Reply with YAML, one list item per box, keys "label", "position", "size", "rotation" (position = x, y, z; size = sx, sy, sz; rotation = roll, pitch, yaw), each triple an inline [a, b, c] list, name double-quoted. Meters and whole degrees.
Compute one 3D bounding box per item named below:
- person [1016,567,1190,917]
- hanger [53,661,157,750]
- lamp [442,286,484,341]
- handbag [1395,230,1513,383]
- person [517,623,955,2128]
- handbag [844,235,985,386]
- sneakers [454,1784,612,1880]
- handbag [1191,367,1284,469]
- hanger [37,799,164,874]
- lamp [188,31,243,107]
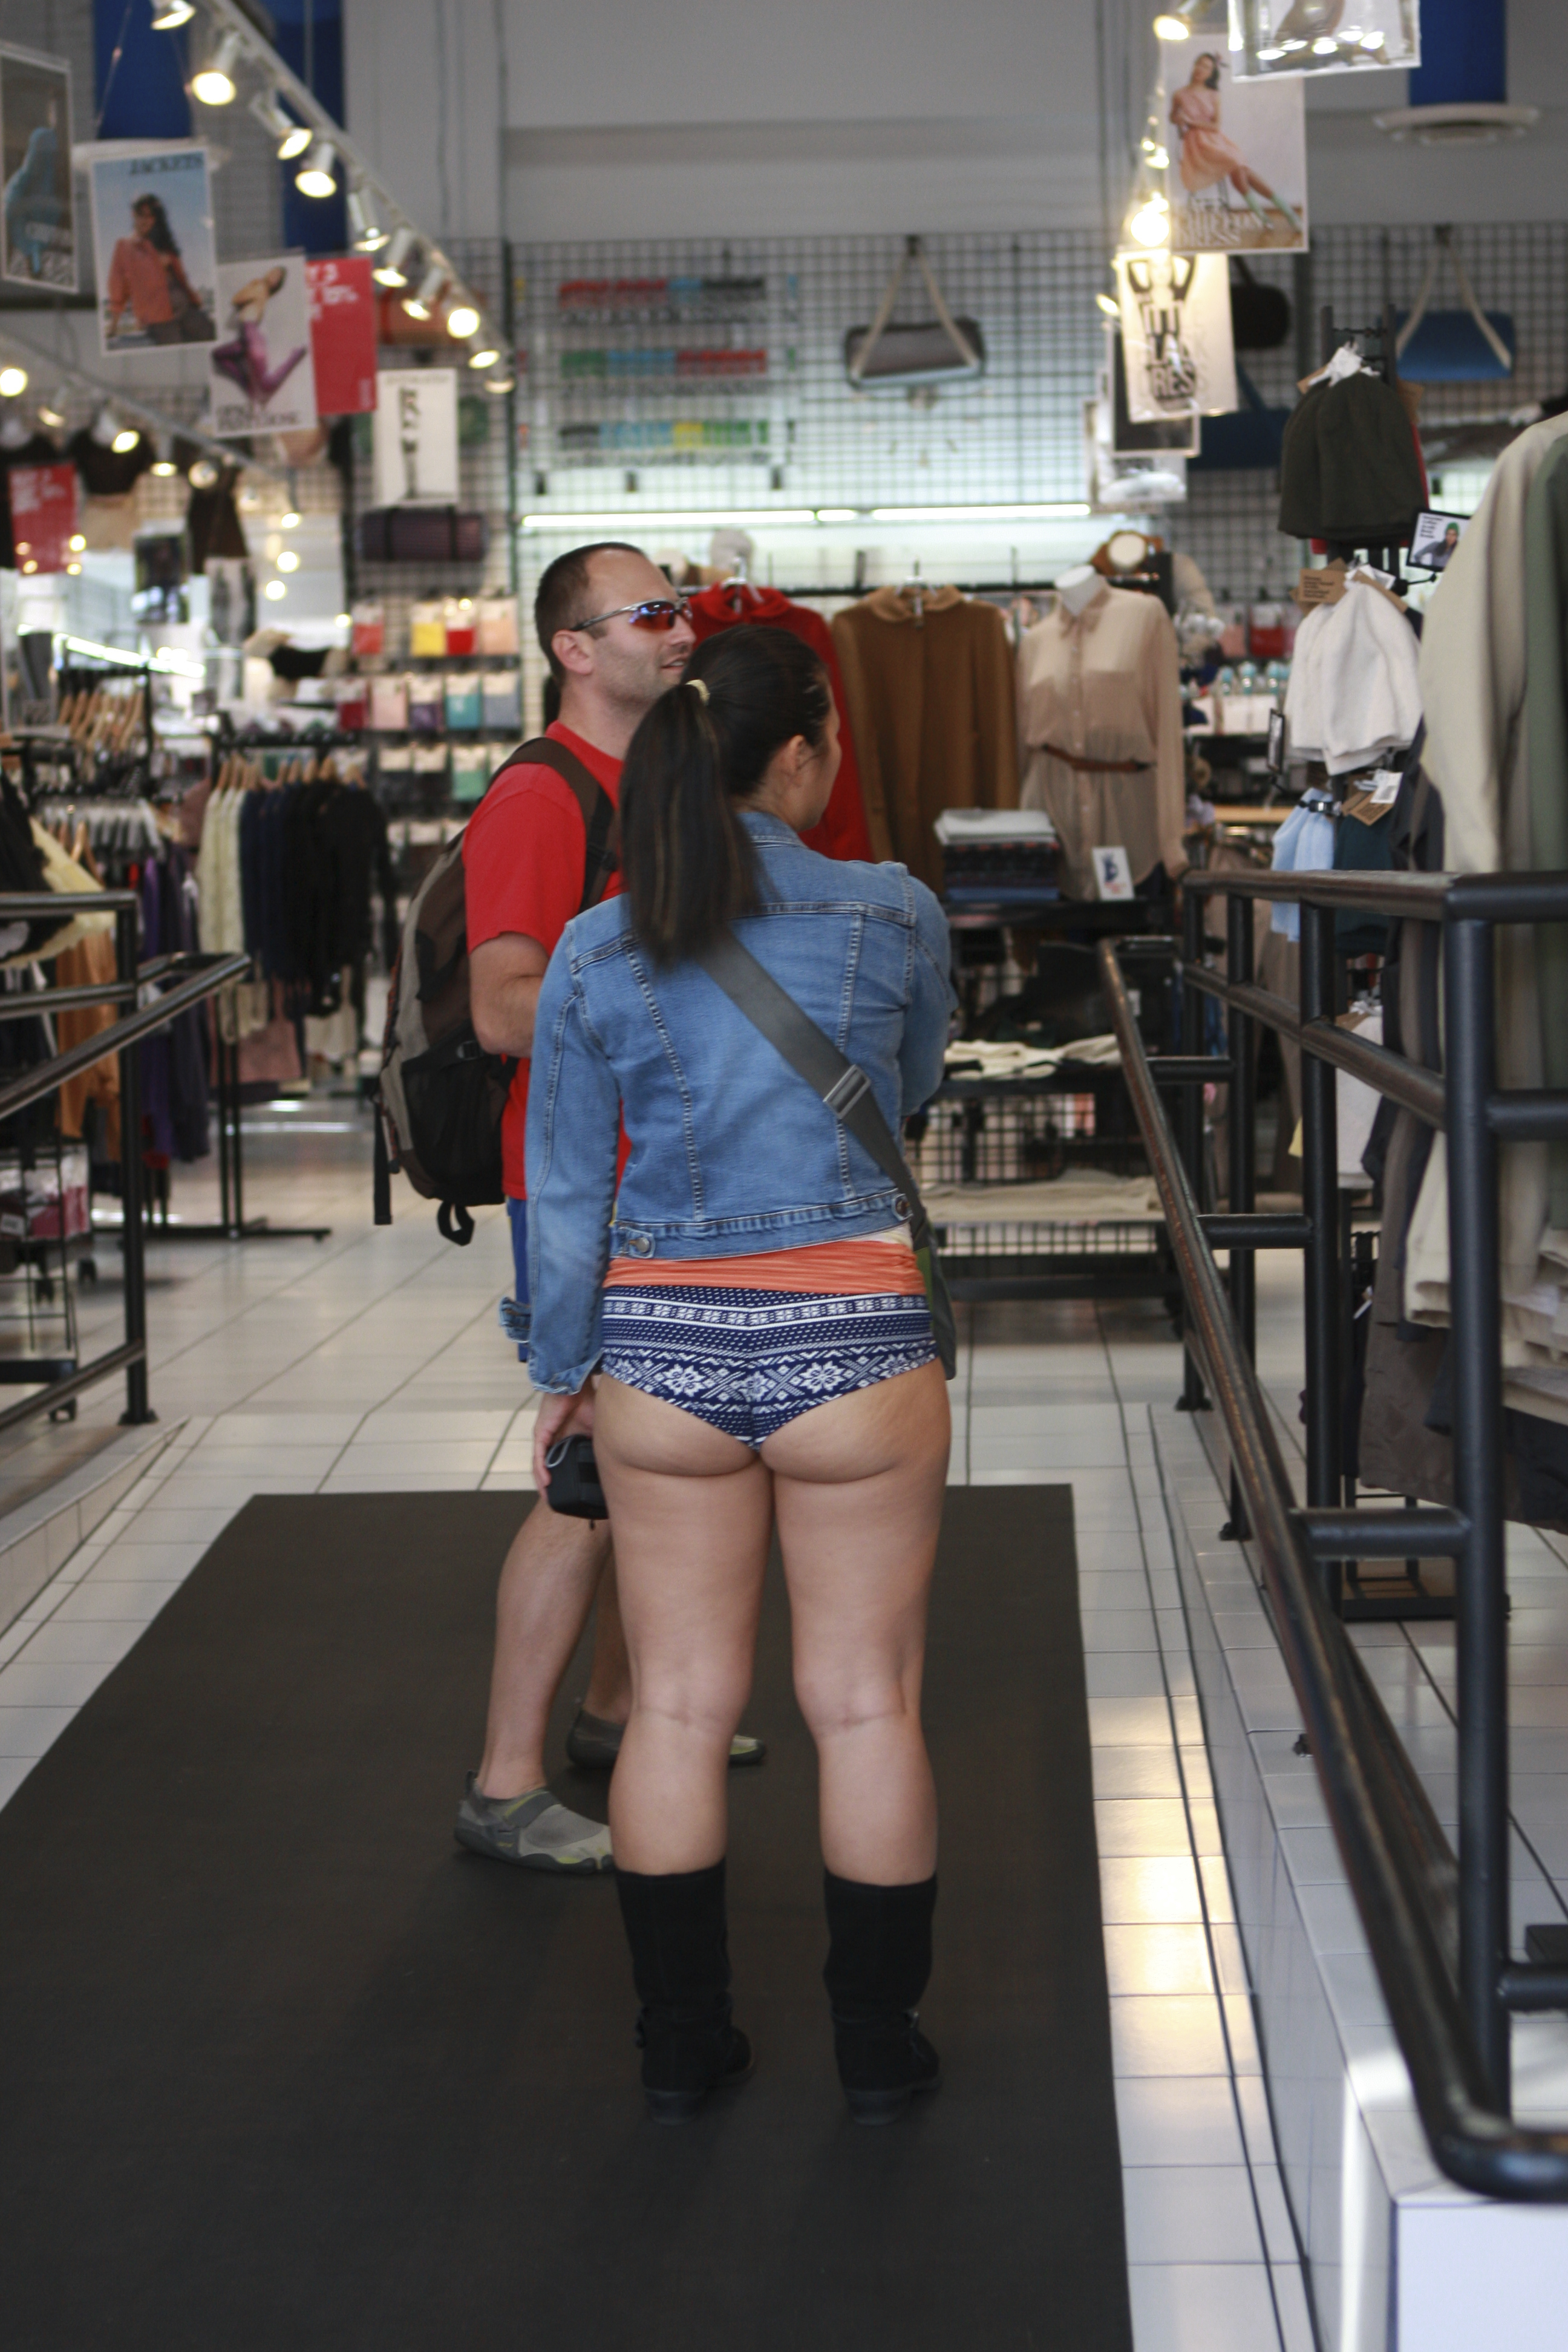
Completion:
- label: "person"
  position: [0.954, -1.334, 5.516]
  size: [0.507, 0.990, 0.342]
  rotation: [0, 3, 11]
- label: "hanger"
  position: [-3.025, -2.088, 8.100]
  size: [0.340, 0.434, 0.713]
  rotation: [-2, 4, -26]
- label: "lamp"
  position: [-1.588, -4.241, 8.995]
  size: [0.168, 0.233, 0.369]
  rotation: [-1, 4, -12]
- label: "handbag"
  position: [3.601, -4.732, 9.774]
  size: [0.537, 1.049, 0.939]
  rotation: [1, 4, 24]
- label: "person"
  position: [-0.055, 0.205, 1.740]
  size: [0.416, 1.433, 0.234]
  rotation: [0, 3, 4]
- label: "handbag"
  position: [0.726, -4.824, 10.193]
  size: [0.849, 1.064, 0.388]
  rotation: [-1, -21, 3]
- label: "sneakers"
  position: [-0.329, 0.841, 2.369]
  size: [0.162, 0.077, 0.103]
  rotation: [5, 5, 8]
- label: "handbag"
  position: [2.473, -4.135, 9.896]
  size: [0.476, 0.699, 0.625]
  rotation: [0, 4, 14]
- label: "hanger"
  position: [-2.571, -1.240, 6.813]
  size: [0.351, 0.353, 0.528]
  rotation: [-1, 4, -4]
- label: "lamp"
  position: [-1.841, -3.568, 5.892]
  size: [0.144, 0.214, 0.282]
  rotation: [-1, 4, -17]
